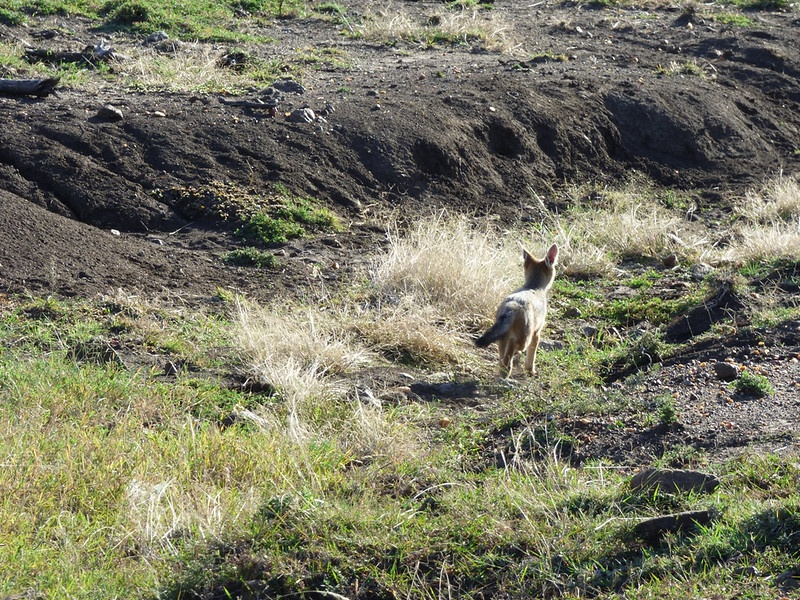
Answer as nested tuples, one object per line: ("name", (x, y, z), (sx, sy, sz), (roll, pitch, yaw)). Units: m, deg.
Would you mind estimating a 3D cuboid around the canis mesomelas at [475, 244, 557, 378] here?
("canis mesomelas", (1.533, 0.200, 17.074), (0.489, 1.582, 2.367), (7, 30, 23))
